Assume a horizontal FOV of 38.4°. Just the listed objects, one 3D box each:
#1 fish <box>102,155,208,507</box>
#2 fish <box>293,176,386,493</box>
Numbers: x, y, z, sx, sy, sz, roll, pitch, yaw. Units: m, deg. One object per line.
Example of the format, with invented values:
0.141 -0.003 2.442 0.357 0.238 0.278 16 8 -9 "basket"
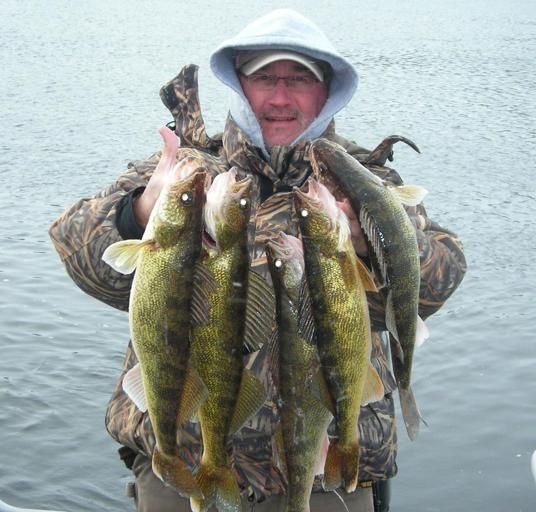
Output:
-0.494 0.368 3.899 0.542 1.706 0.465 -6 15 -26 "fish"
0.396 0.413 4.012 0.417 1.605 0.568 -2 14 -11 "fish"
